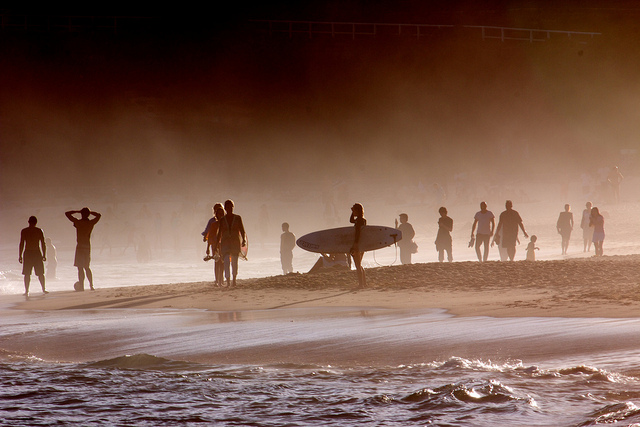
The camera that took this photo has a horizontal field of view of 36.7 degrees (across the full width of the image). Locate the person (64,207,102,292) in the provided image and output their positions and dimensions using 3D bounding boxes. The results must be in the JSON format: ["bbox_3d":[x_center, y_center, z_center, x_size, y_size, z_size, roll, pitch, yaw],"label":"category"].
[{"bbox_3d":[-7.749,1.351,31.864,0.767,2.646,1.175,-9,-13,10],"label":"person"}]

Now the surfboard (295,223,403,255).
[{"bbox_3d":[0.437,0.900,31.779,4.219,1.132,0.691,-2,-8,25],"label":"surfboard"}]

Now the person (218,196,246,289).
[{"bbox_3d":[-2.782,0.975,30.640,0.895,2.841,0.777,5,9,17],"label":"person"}]

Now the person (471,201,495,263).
[{"bbox_3d":[5.696,0.733,33.584,0.937,2.130,0.659,-1,3,10],"label":"person"}]

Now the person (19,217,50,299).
[{"bbox_3d":[-9.414,1.452,31.677,0.952,2.559,0.515,-2,2,-1],"label":"person"}]
